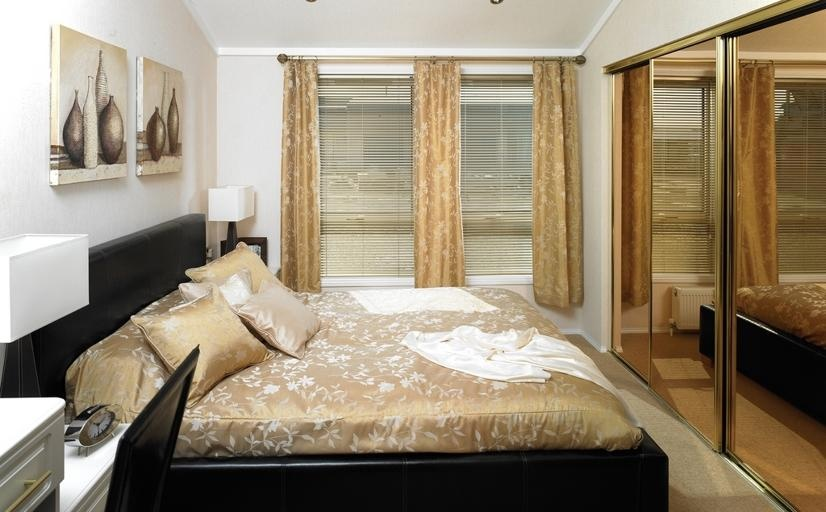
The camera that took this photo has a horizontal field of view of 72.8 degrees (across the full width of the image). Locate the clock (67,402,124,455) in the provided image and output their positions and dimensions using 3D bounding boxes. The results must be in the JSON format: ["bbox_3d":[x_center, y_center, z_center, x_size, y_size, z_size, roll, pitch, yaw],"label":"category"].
[{"bbox_3d":[-1.696,0.905,2.977,0.096,0.221,0.303,11,15,15],"label":"clock"}]

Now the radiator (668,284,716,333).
[{"bbox_3d":[2.242,0.408,4.523,0.344,0.293,0.179,-1,1,-7],"label":"radiator"}]

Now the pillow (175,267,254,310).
[{"bbox_3d":[-1.353,0.241,4.044,0.314,0.095,0.322,16,14,32],"label":"pillow"}]
